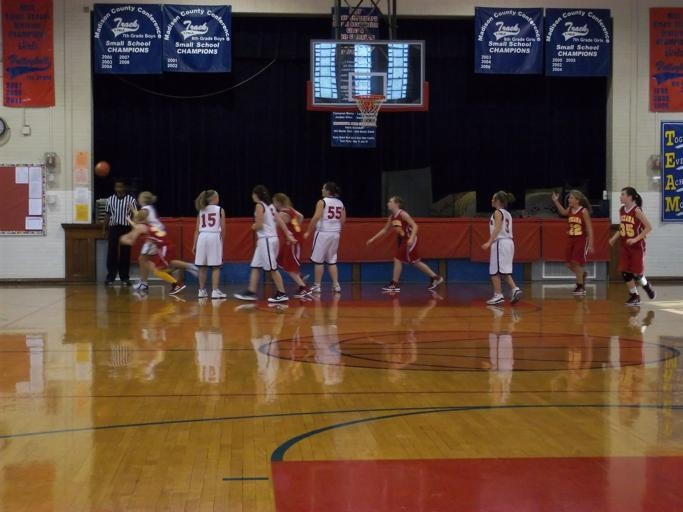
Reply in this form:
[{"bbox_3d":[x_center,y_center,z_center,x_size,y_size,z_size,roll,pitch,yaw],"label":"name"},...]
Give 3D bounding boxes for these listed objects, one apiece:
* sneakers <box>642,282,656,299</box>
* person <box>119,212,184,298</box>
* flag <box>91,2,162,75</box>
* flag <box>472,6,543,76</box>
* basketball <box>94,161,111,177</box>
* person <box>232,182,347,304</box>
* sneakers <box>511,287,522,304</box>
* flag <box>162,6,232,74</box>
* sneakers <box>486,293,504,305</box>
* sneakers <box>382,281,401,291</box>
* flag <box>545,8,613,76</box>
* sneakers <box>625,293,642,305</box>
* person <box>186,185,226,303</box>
[{"bbox_3d":[4.381,0.503,9.728,0.082,0.249,0.103,-35,-43,27],"label":"sneakers"},{"bbox_3d":[-2.883,-0.080,10.393,0.834,1.430,1.090,-3,12,-14],"label":"person"},{"bbox_3d":[-3.886,-3.947,12.372,1.271,1.268,0.026,0,-1,-5],"label":"flag"},{"bbox_3d":[3.128,-4.038,12.761,1.265,1.266,0.099,0,0,-5],"label":"flag"},{"bbox_3d":[-4.484,-1.617,12.719,0.236,0.253,0.278,-7,14,-33],"label":"basketball"},{"bbox_3d":[-0.896,-0.140,9.355,0.703,1.691,1.462,3,12,13],"label":"person"},{"bbox_3d":[2.347,0.531,9.157,0.097,0.133,0.293,-1,-31,-5],"label":"sneakers"},{"bbox_3d":[-2.698,-4.006,12.509,1.173,1.175,0.093,0,1,-5],"label":"flag"},{"bbox_3d":[2.092,0.572,9.125,0.298,0.130,0.120,-4,5,5],"label":"sneakers"},{"bbox_3d":[0.764,0.481,10.923,0.121,0.142,0.320,6,-4,-44],"label":"sneakers"},{"bbox_3d":[4.455,-4.044,12.882,1.216,1.200,0.131,0,-1,-1],"label":"flag"},{"bbox_3d":[3.921,0.559,9.151,0.167,0.191,0.371,5,13,23],"label":"sneakers"},{"bbox_3d":[-1.869,-0.155,9.561,0.438,1.540,0.446,0,11,2],"label":"person"}]
